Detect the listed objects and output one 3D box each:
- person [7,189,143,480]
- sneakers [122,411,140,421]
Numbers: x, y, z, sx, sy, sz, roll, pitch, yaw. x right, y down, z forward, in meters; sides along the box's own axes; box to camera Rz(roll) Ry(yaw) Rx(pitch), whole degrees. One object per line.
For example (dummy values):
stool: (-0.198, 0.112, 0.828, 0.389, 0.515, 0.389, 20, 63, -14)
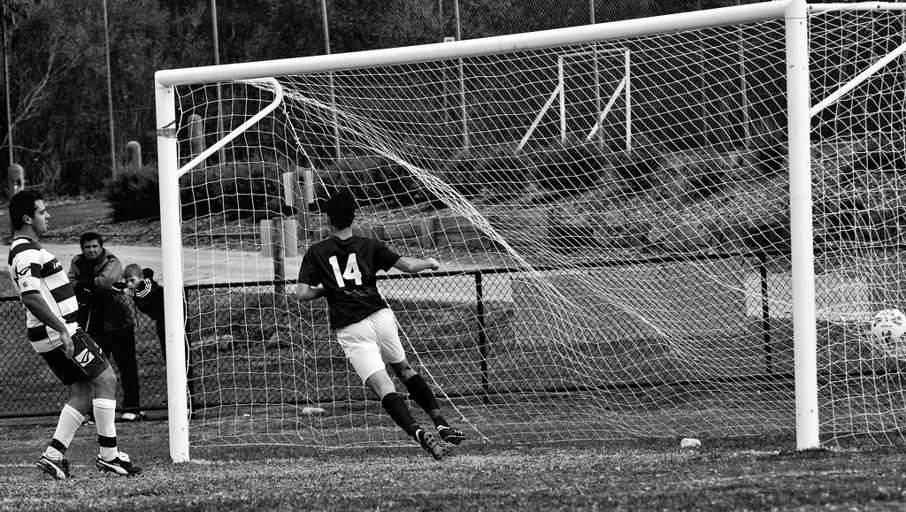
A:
person: (-5.788, 1.185, 17.602, 1.284, 4.264, 1.137, -6, 4, -32)
sneakers: (-5.673, 2.862, 20.804, 0.164, 0.079, 0.230, 0, -3, 29)
